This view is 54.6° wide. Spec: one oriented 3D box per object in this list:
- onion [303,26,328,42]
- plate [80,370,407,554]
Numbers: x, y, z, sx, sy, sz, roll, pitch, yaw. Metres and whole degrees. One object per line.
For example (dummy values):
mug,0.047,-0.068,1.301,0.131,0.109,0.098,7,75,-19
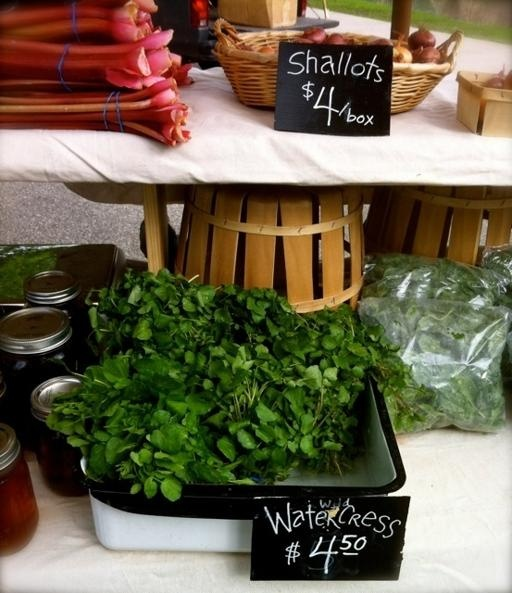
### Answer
onion,0.113,-0.505,0.960,0.048,0.028,0.109,4,26,5
plate,-0.007,0.211,0.622,0.309,0.095,0.231,0,31,-1
